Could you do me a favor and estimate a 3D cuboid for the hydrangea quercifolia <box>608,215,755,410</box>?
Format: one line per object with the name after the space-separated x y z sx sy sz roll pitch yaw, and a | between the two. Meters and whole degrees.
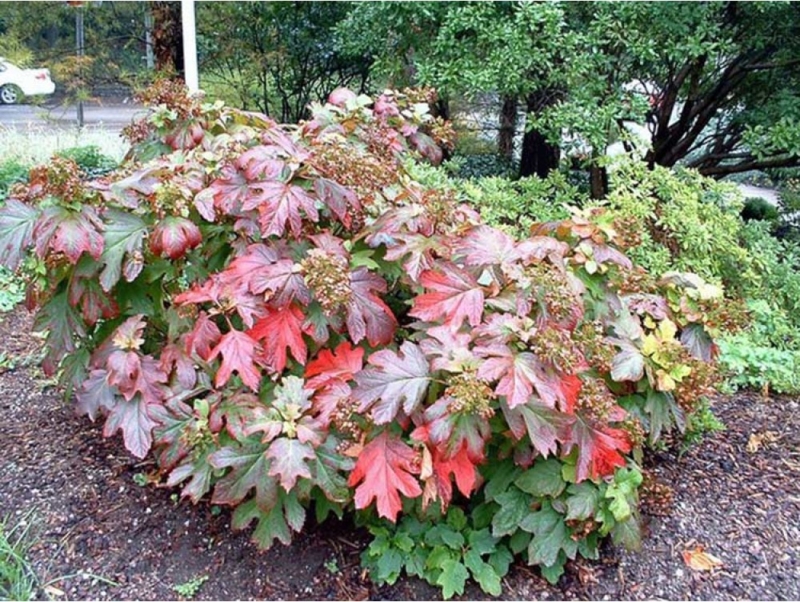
1.330 0.081 2.845 0.892 0.943 0.678 10 -7 -17 | hydrangea quercifolia

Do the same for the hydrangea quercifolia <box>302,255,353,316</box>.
-0.302 -0.072 2.094 0.201 0.265 0.140 7 -16 -23 | hydrangea quercifolia
